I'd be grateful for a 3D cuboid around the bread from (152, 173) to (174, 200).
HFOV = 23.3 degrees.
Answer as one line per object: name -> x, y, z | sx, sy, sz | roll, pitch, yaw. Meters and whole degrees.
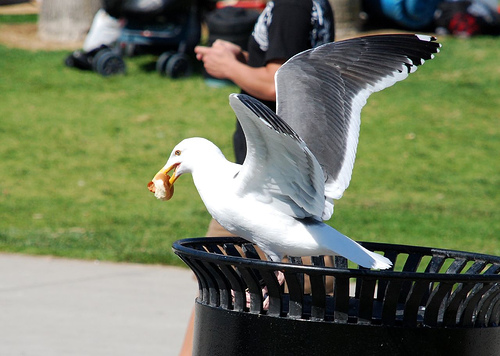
bread -> -0.596, 0.056, 8.357 | 0.149, 0.172, 0.080 | 5, 8, 29
